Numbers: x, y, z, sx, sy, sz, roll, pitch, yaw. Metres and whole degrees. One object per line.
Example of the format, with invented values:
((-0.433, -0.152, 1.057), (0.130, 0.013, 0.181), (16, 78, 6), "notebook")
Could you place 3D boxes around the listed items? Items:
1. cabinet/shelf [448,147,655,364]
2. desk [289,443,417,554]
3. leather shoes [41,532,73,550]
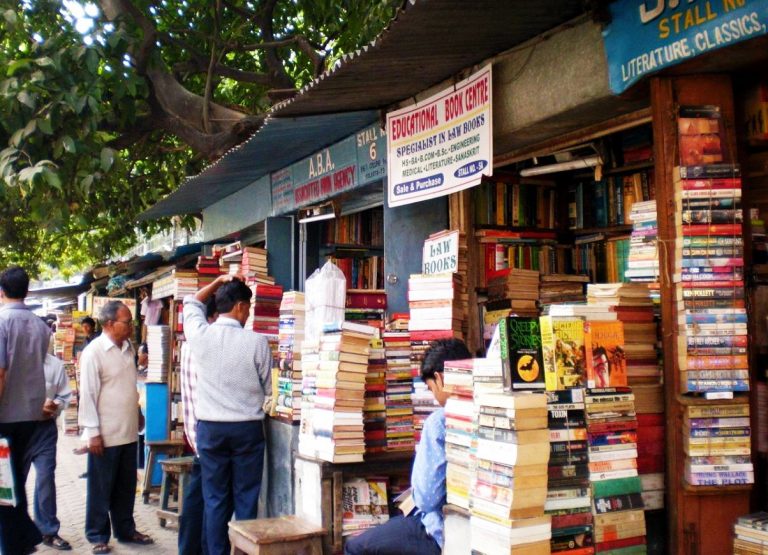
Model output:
((1.370, -0.216, 6.315), (1.558, 1.554, 0.459), (-11, -17, 40), "cabinet/shelf")
((-0.151, 1.650, 5.937), (1.063, 1.134, 0.658), (3, -7, -29), "desk")
((-3.030, 2.445, 6.993), (0.353, 0.153, 0.136), (3, -3, 19), "leather shoes")
